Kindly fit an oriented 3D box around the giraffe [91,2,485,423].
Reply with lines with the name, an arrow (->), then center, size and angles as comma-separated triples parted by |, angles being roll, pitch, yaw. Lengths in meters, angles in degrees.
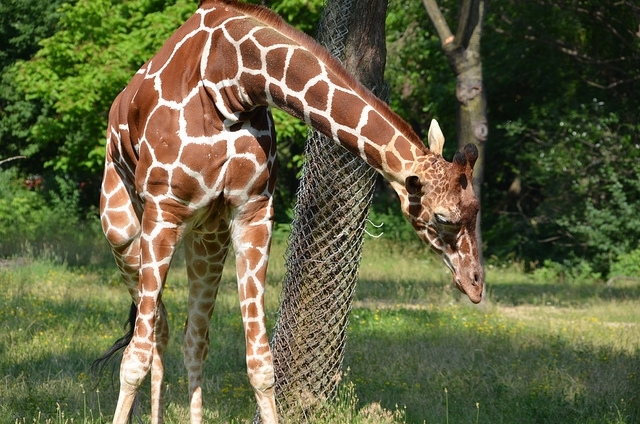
giraffe -> -0.866, 0.113, 21.851 | 7.721, 8.162, 3.399 | 1, -5, -3
